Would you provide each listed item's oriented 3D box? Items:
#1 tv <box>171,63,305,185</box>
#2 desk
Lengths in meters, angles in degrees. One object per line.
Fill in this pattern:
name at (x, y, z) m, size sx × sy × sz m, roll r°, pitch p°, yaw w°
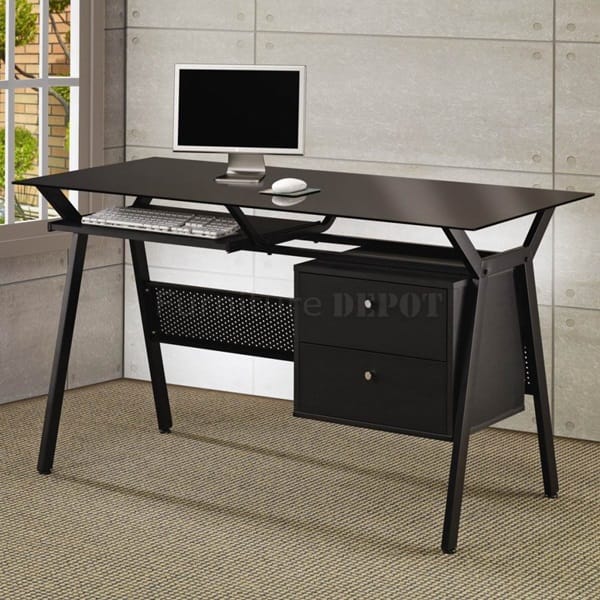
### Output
tv at (-0.217, -0.641, 2.183) m, size 0.473 × 0.389 × 0.118 m, roll 4°, pitch 21°, yaw 6°
desk at (-0.078, 0.113, 1.974) m, size 1.550 × 0.882 × 0.621 m, roll 7°, pitch 10°, yaw 28°
